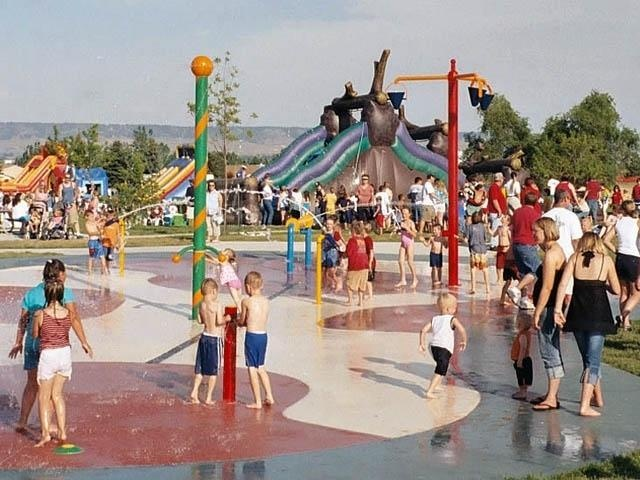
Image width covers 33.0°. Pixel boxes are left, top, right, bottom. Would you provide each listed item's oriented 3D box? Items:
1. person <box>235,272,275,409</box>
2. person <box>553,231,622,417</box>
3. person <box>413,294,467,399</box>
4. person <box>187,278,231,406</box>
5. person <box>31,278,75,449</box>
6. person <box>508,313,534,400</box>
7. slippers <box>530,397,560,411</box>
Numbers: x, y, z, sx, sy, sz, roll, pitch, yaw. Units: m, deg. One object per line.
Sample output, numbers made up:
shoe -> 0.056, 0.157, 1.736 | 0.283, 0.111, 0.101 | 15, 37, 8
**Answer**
person -> -0.859, 1.297, 14.361 | 0.459, 1.747, 1.224 | -1, -1, -3
person -> 3.449, 1.068, 13.842 | 0.691, 2.336, 0.790 | -1, -1, 34
person -> 1.764, 1.412, 15.313 | 0.627, 1.365, 2.299 | -1, -1, 7
person -> -1.449, 1.317, 14.077 | 0.520, 1.619, 0.384 | 0, -1, -7
person -> -3.168, 1.457, 12.767 | 0.445, 1.936, 0.343 | 0, -1, -16
person -> 2.703, 1.556, 14.378 | 0.264, 1.122, 0.591 | -1, -1, 10
slippers -> 2.899, 2.139, 13.843 | 0.220, 0.066, 0.179 | 8, 2, -12
